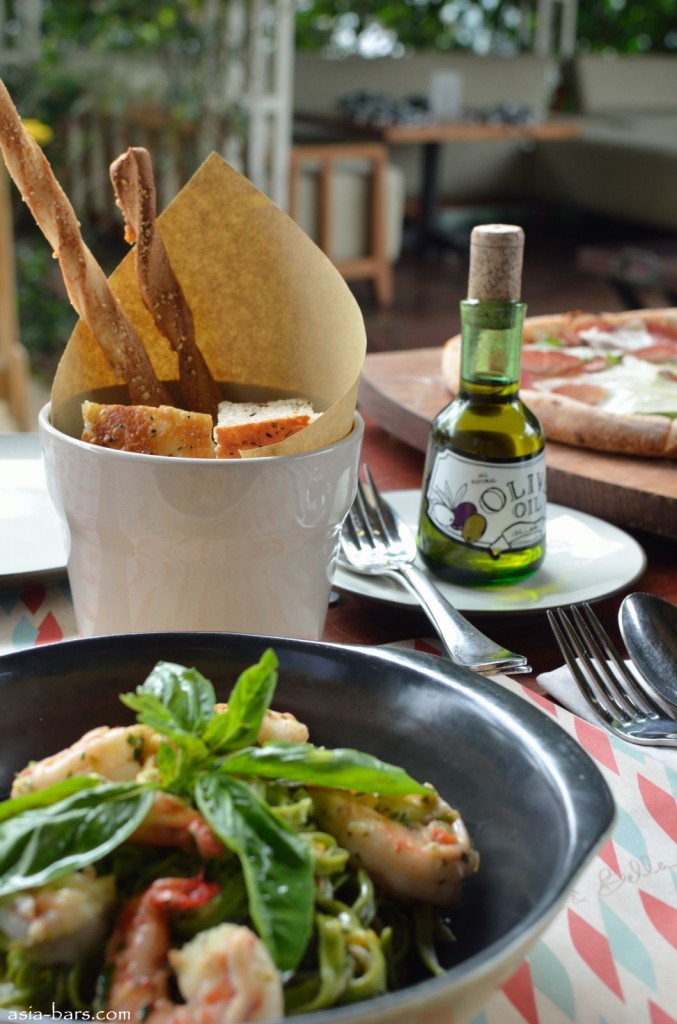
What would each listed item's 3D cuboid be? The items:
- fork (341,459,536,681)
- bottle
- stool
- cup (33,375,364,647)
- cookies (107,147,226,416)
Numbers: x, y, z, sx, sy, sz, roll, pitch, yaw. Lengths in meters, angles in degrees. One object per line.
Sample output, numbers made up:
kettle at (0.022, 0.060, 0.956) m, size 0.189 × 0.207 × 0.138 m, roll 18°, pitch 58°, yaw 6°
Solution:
fork at (0.043, 0.025, 0.628) m, size 0.049 × 0.038 × 0.260 m, roll -13°, pitch 35°, yaw -17°
bottle at (0.093, -0.075, 0.628) m, size 0.077 × 0.225 × 0.120 m, roll -7°, pitch 24°, yaw -24°
stool at (0.009, -1.637, 5.358) m, size 0.633 × 0.889 × 0.314 m, roll -1°, pitch 22°, yaw -11°
cup at (-0.062, -0.016, 0.453) m, size 0.136 × 0.094 × 0.133 m, roll 2°, pitch 12°, yaw 0°
cookies at (-0.081, -0.116, 0.548) m, size 0.042 × 0.175 × 0.031 m, roll -2°, pitch 31°, yaw 30°
